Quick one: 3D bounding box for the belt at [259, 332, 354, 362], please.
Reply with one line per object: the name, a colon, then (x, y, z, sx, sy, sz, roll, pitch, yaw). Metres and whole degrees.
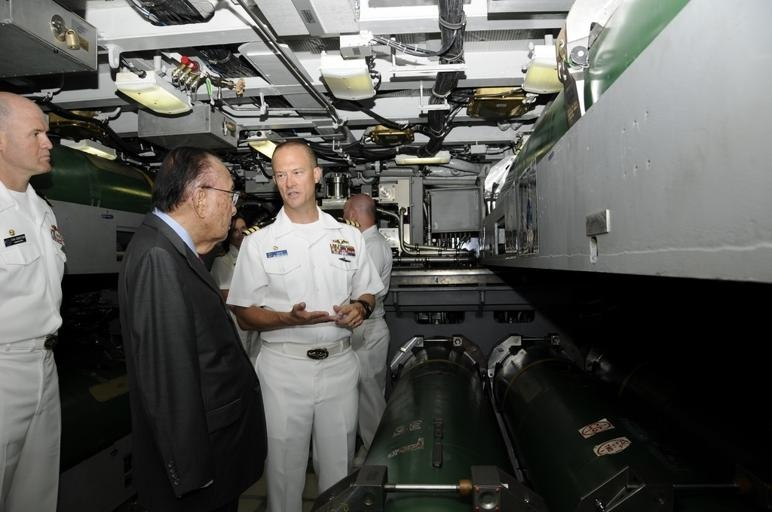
belt: (-0.475, 0.551, 2.915, 0.522, 0.115, 0.181, 0, 2, -7)
